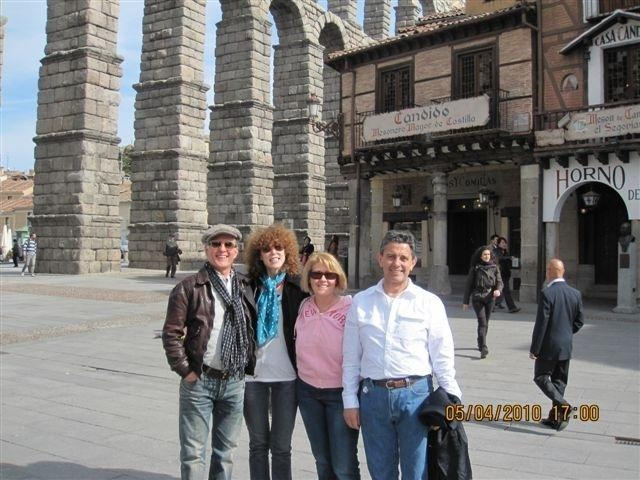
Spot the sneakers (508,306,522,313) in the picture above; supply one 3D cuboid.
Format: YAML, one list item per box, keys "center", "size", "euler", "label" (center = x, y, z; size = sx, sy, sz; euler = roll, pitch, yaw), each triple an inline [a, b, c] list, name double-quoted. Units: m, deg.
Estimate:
- center: [5.086, 1.837, 19.832]
  size: [0.603, 0.149, 0.262]
  euler: [3, -3, -41]
  label: "sneakers"

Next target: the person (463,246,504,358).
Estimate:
- center: [3.126, 1.160, 14.684]
  size: [0.726, 2.164, 1.086]
  euler: [0, -2, 12]
  label: "person"

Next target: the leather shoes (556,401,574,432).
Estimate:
- center: [3.542, 2.587, 11.023]
  size: [0.247, 0.404, 0.153]
  euler: [2, -3, -29]
  label: "leather shoes"

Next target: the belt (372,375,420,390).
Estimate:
- center: [0.885, 1.668, 8.840]
  size: [0.546, 0.148, 0.067]
  euler: [1, -2, 2]
  label: "belt"

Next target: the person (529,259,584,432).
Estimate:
- center: [3.529, 1.528, 11.364]
  size: [0.732, 2.519, 0.686]
  euler: [0, -2, 19]
  label: "person"

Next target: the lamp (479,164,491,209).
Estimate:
- center: [5.545, -1.795, 25.587]
  size: [0.454, 1.209, 0.922]
  euler: [0, -2, 12]
  label: "lamp"

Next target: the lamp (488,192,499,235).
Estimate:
- center: [5.814, -0.960, 25.519]
  size: [0.351, 1.516, 0.443]
  euler: [0, -2, 12]
  label: "lamp"

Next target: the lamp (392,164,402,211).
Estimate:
- center: [2.780, -1.696, 27.517]
  size: [0.347, 0.921, 1.066]
  euler: [0, -2, 5]
  label: "lamp"
